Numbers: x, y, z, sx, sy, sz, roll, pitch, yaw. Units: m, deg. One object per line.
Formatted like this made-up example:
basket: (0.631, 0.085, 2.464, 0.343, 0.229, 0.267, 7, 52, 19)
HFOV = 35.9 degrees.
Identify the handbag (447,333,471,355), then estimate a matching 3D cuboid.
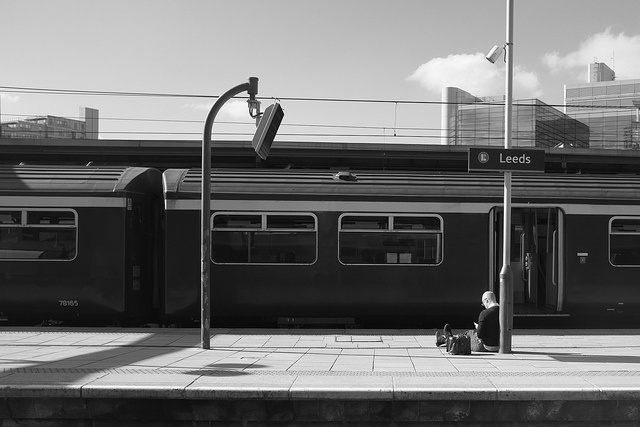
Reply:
handbag: (3.222, 3.057, 22.908, 0.431, 0.394, 0.583, -1, -2, -2)

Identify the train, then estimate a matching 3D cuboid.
train: (0.316, 0.294, 29.835, 20.944, 4.766, 9.072, -1, 0, -1)

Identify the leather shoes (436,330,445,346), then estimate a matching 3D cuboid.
leather shoes: (2.856, 2.989, 23.659, 0.134, 0.287, 0.405, 1, 8, 6)

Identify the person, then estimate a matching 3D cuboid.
person: (3.621, 2.626, 24.190, 1.000, 1.441, 2.435, 2, -4, -31)
